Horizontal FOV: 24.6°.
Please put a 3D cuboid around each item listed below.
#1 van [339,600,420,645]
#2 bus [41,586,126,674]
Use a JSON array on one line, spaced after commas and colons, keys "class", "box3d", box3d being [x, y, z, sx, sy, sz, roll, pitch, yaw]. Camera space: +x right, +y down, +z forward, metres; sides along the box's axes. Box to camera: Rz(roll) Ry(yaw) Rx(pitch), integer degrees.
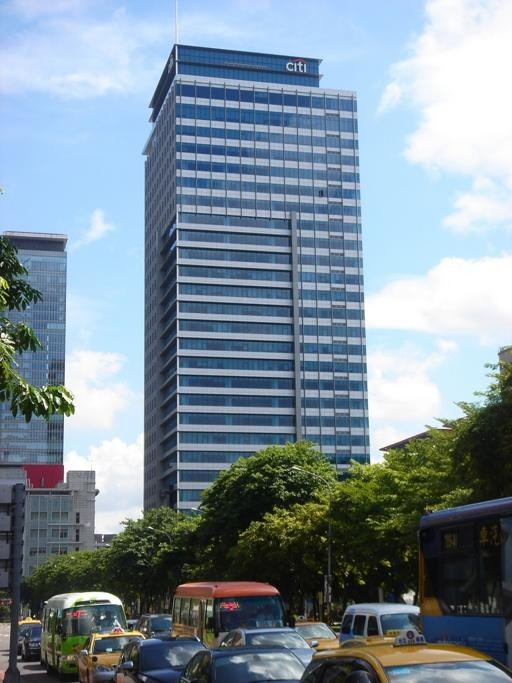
[{"class": "van", "box3d": [2.629, 6.068, 25.247, 1.595, 0.770, 2.254, -2, -11, 1]}, {"class": "bus", "box3d": [-5.283, 8.688, 35.416, 1.777, 2.184, 4.734, 1, -17, -15]}]
